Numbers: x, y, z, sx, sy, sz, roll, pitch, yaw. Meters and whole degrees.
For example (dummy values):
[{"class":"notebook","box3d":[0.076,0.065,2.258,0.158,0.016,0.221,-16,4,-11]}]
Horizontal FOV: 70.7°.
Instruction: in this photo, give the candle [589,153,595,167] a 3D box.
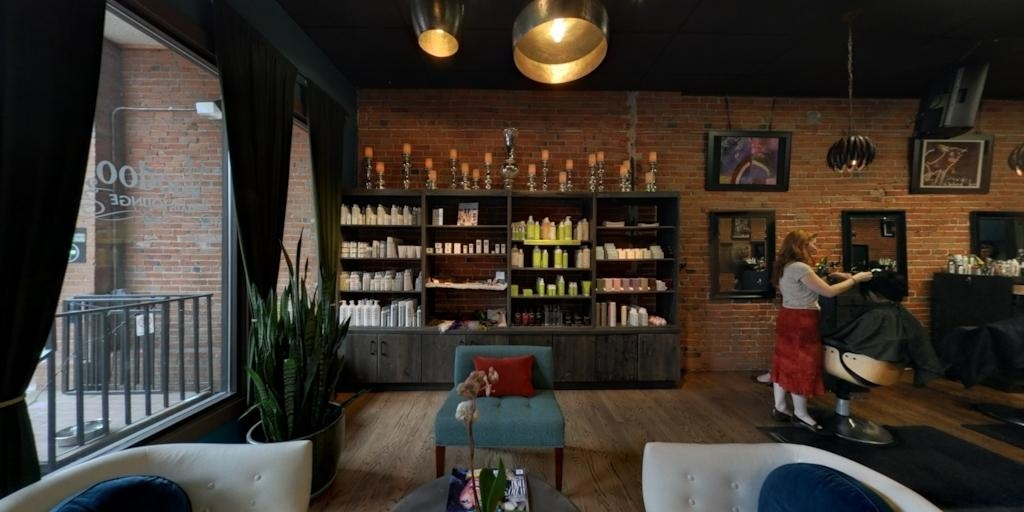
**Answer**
[{"class":"candle","box3d":[1.341,-1.594,11.927,0.144,0.223,0.273,0,0,3]}]

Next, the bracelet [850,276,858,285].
[{"class":"bracelet","box3d":[5.012,0.352,10.547,0.104,0.064,0.096,-4,5,-30]}]

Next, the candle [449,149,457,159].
[{"class":"candle","box3d":[-0.950,-1.680,11.874,0.134,0.198,0.310,0,0,-6]}]

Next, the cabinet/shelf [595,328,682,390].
[{"class":"cabinet/shelf","box3d":[2.037,1.611,11.762,1.823,0.988,0.879,-1,5,-1]}]

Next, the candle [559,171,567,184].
[{"class":"candle","box3d":[0.854,-1.291,11.879,0.118,0.254,0.288,-1,0,3]}]

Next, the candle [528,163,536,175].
[{"class":"candle","box3d":[0.351,-1.446,11.894,0.135,0.221,0.351,0,0,1]}]

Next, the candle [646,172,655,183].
[{"class":"candle","box3d":[2.277,-1.288,11.782,0.197,0.176,0.176,-2,1,-13]}]

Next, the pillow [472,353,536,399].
[{"class":"pillow","box3d":[-0.096,1.680,9.928,0.769,0.435,0.237,1,-16,-2]}]

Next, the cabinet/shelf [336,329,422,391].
[{"class":"cabinet/shelf","box3d":[-2.083,1.589,11.307,1.378,0.752,0.428,0,-6,-3]}]

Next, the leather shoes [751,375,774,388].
[{"class":"leather shoes","box3d":[4.129,2.046,11.735,0.208,0.124,0.353,3,-2,-27]}]

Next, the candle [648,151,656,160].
[{"class":"candle","box3d":[2.325,-1.636,11.794,0.173,0.154,0.154,-1,0,-5]}]

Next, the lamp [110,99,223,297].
[{"class":"lamp","box3d":[-4.953,-0.832,10.314,1.399,2.699,0.473,0,0,-24]}]

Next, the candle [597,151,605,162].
[{"class":"candle","box3d":[1.478,-1.650,11.925,0.135,0.221,0.316,-1,0,6]}]

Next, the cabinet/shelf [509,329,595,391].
[{"class":"cabinet/shelf","box3d":[0.615,1.556,10.964,1.159,0.644,0.331,0,-7,-4]}]

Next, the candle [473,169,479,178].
[{"class":"candle","box3d":[-0.583,-1.380,11.953,0.100,0.181,0.193,0,0,0]}]

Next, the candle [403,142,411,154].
[{"class":"candle","box3d":[-1.714,-1.768,11.870,0.148,0.215,0.339,0,0,-10]}]

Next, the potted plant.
[{"class":"potted plant","box3d":[-2.966,1.528,9.923,1.287,3.466,1.368,0,0,-28]}]

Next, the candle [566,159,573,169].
[{"class":"candle","box3d":[0.961,-1.515,11.901,0.118,0.095,0.196,-2,8,2]}]

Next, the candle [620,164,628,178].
[{"class":"candle","box3d":[1.865,-1.423,11.912,0.143,0.231,0.312,-1,0,6]}]

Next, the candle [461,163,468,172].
[{"class":"candle","box3d":[-0.734,-1.464,11.880,0.152,0.136,0.137,-1,-2,6]}]

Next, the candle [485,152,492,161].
[{"class":"candle","box3d":[-0.372,-1.640,11.927,0.135,0.197,0.239,0,0,-5]}]

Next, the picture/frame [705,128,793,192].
[{"class":"picture/frame","box3d":[4.069,-1.606,12.195,1.771,1.030,0.093,-5,9,-36]}]

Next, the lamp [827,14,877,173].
[{"class":"lamp","box3d":[5.343,-2.455,11.391,0.638,1.749,1.833,-1,0,23]}]

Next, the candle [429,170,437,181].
[{"class":"candle","box3d":[-1.261,-1.325,11.766,0.177,0.156,0.160,-1,1,-20]}]
